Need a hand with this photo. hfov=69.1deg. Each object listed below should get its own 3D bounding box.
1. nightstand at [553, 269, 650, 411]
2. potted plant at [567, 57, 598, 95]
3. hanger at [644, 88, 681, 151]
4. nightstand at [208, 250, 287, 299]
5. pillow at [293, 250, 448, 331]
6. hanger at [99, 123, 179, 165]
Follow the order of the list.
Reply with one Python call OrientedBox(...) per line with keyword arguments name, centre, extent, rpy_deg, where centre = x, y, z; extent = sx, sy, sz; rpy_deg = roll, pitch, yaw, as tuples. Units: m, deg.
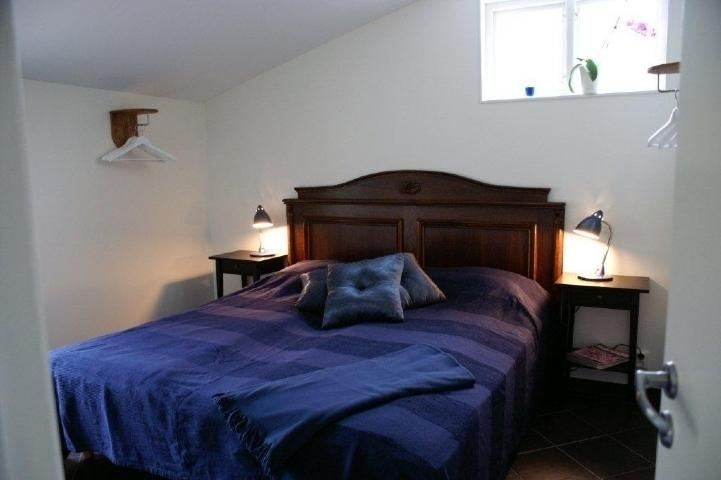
OrientedBox(name="nightstand", centre=(1.612, 0.610, 3.591), extent=(0.576, 0.730, 0.491), rpy_deg=(8, 17, 30))
OrientedBox(name="potted plant", centre=(1.603, -1.167, 3.730), extent=(0.183, 0.260, 0.256), rpy_deg=(-3, 14, -8))
OrientedBox(name="hanger", centre=(1.836, -0.715, 3.166), extent=(0.151, 0.373, 0.716), rpy_deg=(7, 16, 28))
OrientedBox(name="nightstand", centre=(-0.999, 0.184, 4.639), extent=(0.528, 0.558, 0.450), rpy_deg=(3, 5, 31))
OrientedBox(name="pillow", centre=(0.060, 0.319, 3.443), extent=(0.982, 0.339, 0.574), rpy_deg=(-1, 14, 1))
OrientedBox(name="hanger", centre=(-1.834, -0.773, 4.241), extent=(0.540, 0.290, 0.378), rpy_deg=(-8, 16, -27))
